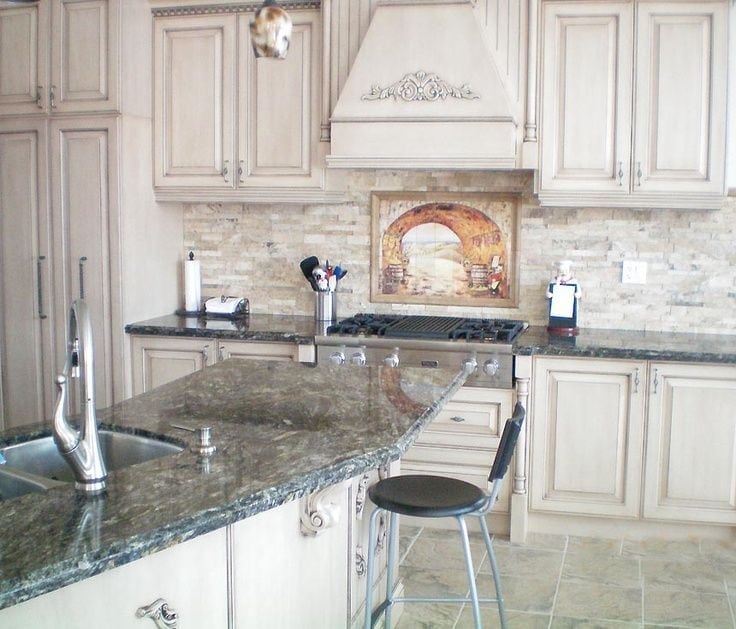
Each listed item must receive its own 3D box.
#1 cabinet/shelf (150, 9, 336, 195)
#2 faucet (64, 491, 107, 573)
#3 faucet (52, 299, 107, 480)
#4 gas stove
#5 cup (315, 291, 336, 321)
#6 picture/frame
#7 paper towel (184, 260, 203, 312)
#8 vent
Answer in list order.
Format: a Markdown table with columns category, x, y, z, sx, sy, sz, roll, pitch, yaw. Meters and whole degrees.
| category | x | y | z | sx | sy | sz | roll | pitch | yaw |
| --- | --- | --- | --- | --- | --- | --- | --- | --- | --- |
| cabinet/shelf | -0.654 | -1.200 | 3.836 | 0.976 | 0.960 | 0.390 | 1 | 4 | 9 |
| faucet | -0.572 | 0.432 | 1.421 | 0.064 | 0.045 | 0.293 | -4 | 9 | -19 |
| faucet | -0.657 | 0.172 | 1.566 | 0.098 | 0.423 | 0.214 | -5 | 9 | -22 |
| gas stove | 0.310 | 0.177 | 3.742 | 1.086 | 0.289 | 0.602 | 0 | 8 | 11 |
| cup | -0.250 | -0.056 | 4.082 | 0.158 | 0.196 | 0.146 | -1 | 4 | 0 |
| picture/frame | 0.482 | -0.413 | 4.086 | 0.645 | 0.501 | 0.027 | 1 | 4 | 13 |
| paper towel | -1.093 | -0.188 | 4.342 | 0.103 | 0.324 | 0.157 | -4 | 8 | -15 |
| vent | 0.329 | -1.179 | 3.602 | 0.846 | 0.745 | 0.333 | 1 | 5 | 10 |
